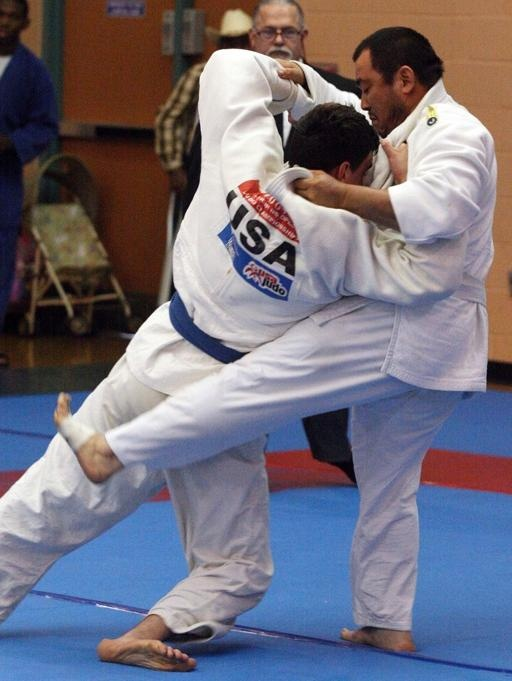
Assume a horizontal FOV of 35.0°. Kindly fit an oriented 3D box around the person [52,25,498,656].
[{"bbox_3d":[0.128,0.008,1.690,0.677,1.334,0.449,3,6,14],"label":"person"}]
